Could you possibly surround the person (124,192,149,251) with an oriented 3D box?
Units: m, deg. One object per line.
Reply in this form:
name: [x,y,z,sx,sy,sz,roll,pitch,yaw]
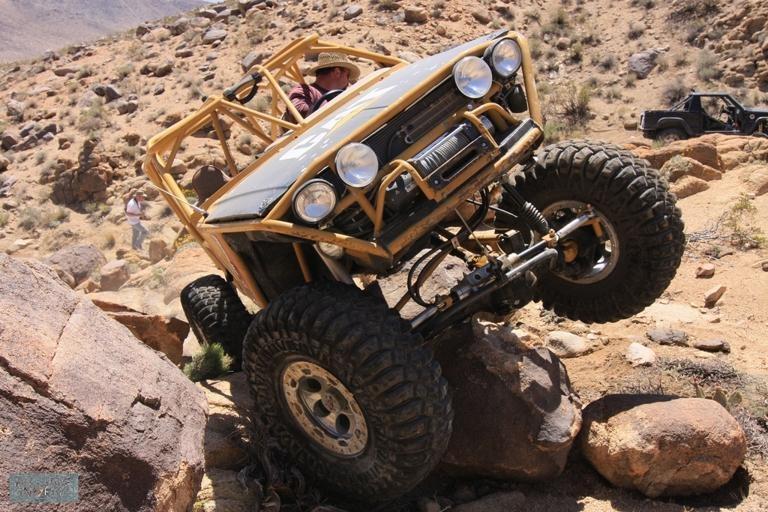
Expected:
person: [-5.814,-0.760,17.624,0.524,1.476,0.618,-10,57,-14]
